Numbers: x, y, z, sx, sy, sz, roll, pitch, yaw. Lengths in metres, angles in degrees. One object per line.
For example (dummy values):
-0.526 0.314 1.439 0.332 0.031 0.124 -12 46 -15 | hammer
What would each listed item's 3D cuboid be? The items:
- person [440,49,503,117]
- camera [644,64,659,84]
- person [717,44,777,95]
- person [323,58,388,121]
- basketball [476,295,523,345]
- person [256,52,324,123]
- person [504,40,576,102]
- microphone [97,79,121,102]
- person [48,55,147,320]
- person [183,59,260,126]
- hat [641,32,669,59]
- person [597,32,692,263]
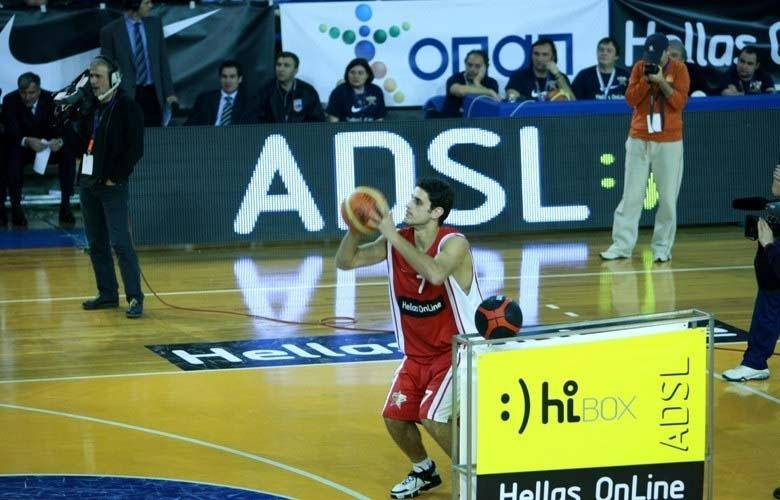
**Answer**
1.276 -2.739 16.862 0.699 1.293 0.768 -1 -6 0 | person
3.364 -2.251 13.168 0.180 0.149 0.192 3 -13 34 | camera
5.966 -3.012 17.227 1.114 0.855 0.729 -3 4 -33 | person
-0.628 -2.610 16.828 1.260 1.274 0.744 0 -2 -7 | person
0.830 0.514 7.813 0.253 0.397 0.231 1 0 5 | basketball
-1.623 -2.605 16.477 1.066 1.111 0.369 -1 3 -3 | person
2.435 -2.906 16.607 1.070 1.060 1.180 -1 4 -9 | person
-3.276 -1.834 11.877 0.259 0.241 0.162 -2 4 -22 | microphone
-3.495 -0.766 12.319 1.153 3.296 1.004 1 -2 -5 | person
-2.707 -2.503 16.457 1.067 0.991 0.287 -1 4 -9 | person
3.424 -2.612 13.211 0.281 0.326 0.202 0 4 12 | hat
3.537 -1.311 13.797 0.875 2.998 1.105 -2 4 -24 | person
